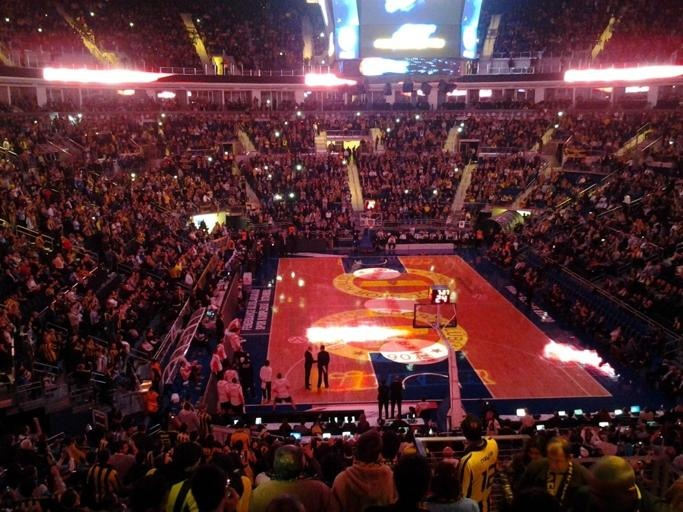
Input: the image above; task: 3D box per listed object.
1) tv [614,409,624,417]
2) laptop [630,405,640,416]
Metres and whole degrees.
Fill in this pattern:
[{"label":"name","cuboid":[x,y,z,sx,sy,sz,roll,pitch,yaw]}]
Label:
[{"label":"tv","cuboid":[8.334,4.697,16.120,0.282,0.073,0.274,-2,1,13]},{"label":"laptop","cuboid":[8.710,4.562,15.940,0.271,0.179,0.279,-3,-3,32]}]
